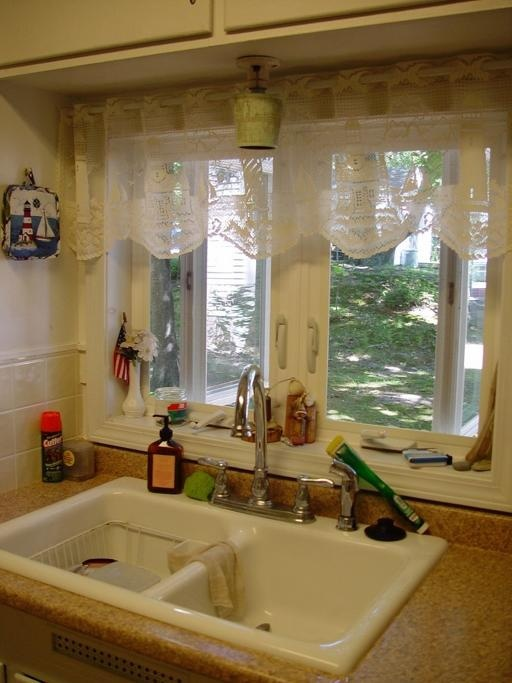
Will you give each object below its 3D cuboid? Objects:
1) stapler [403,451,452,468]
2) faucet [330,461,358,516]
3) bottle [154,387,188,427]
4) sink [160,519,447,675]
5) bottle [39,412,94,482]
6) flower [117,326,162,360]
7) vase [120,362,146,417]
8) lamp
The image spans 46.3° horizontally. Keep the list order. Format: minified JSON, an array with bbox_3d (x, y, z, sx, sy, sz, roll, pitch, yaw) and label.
[{"bbox_3d":[0.401,0.272,1.402,0.108,0.023,0.069,0,6,0],"label":"stapler"},{"bbox_3d":[0.202,0.328,1.347,0.059,0.143,0.083,1,6,15],"label":"faucet"},{"bbox_3d":[-0.242,0.198,1.770,0.108,0.100,0.103,0,-1,-3],"label":"bottle"},{"bbox_3d":[0.095,0.512,1.184,0.358,0.133,0.288,5,13,32],"label":"sink"},{"bbox_3d":[-0.545,0.297,1.730,0.152,0.207,0.086,-2,6,-17],"label":"bottle"},{"bbox_3d":[-0.345,-0.001,1.799,0.101,0.077,0.096,-2,11,-29],"label":"flower"},{"bbox_3d":[-0.380,0.144,1.840,0.067,0.174,0.055,2,6,22],"label":"vase"},{"bbox_3d":[0.001,-0.525,1.313,0.120,0.185,0.117,-16,25,-41],"label":"lamp"}]
